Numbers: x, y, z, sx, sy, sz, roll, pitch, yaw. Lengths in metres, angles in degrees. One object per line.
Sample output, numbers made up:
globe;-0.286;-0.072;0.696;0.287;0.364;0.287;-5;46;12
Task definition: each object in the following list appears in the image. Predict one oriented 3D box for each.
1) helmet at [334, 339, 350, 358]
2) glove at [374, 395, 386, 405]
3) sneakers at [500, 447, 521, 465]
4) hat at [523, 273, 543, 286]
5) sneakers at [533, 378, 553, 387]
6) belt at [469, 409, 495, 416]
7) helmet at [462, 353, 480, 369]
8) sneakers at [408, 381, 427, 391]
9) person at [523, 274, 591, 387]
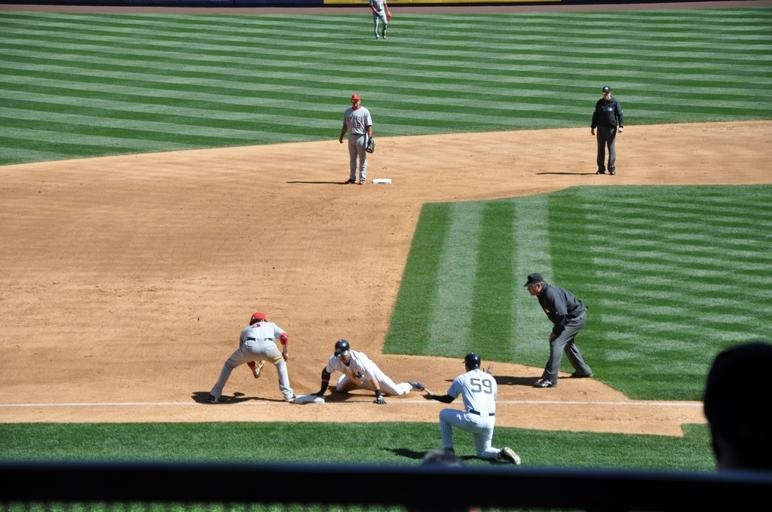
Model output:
helmet;-1.051;2.321;35.090;0.386;0.423;0.508;-3;12;-3
glove;-0.079;3.642;35.210;0.301;0.229;0.298;-3;12;-8
sneakers;2.979;4.693;32.494;0.252;0.506;0.248;-45;1;-20
hat;3.839;0.610;35.566;0.512;0.197;0.321;-4;9;2
sneakers;4.084;3.261;35.616;0.439;0.143;0.197;5;6;1
belt;2.318;3.741;32.903;0.556;0.167;0.123;-1;13;1
helmet;2.092;2.537;33.335;0.475;0.319;0.392;1;27;-2
sneakers;0.886;3.338;35.455;0.314;0.075;0.269;12;9;-44
person;4.490;1.868;35.752;1.570;2.917;0.881;-7;15;-20
